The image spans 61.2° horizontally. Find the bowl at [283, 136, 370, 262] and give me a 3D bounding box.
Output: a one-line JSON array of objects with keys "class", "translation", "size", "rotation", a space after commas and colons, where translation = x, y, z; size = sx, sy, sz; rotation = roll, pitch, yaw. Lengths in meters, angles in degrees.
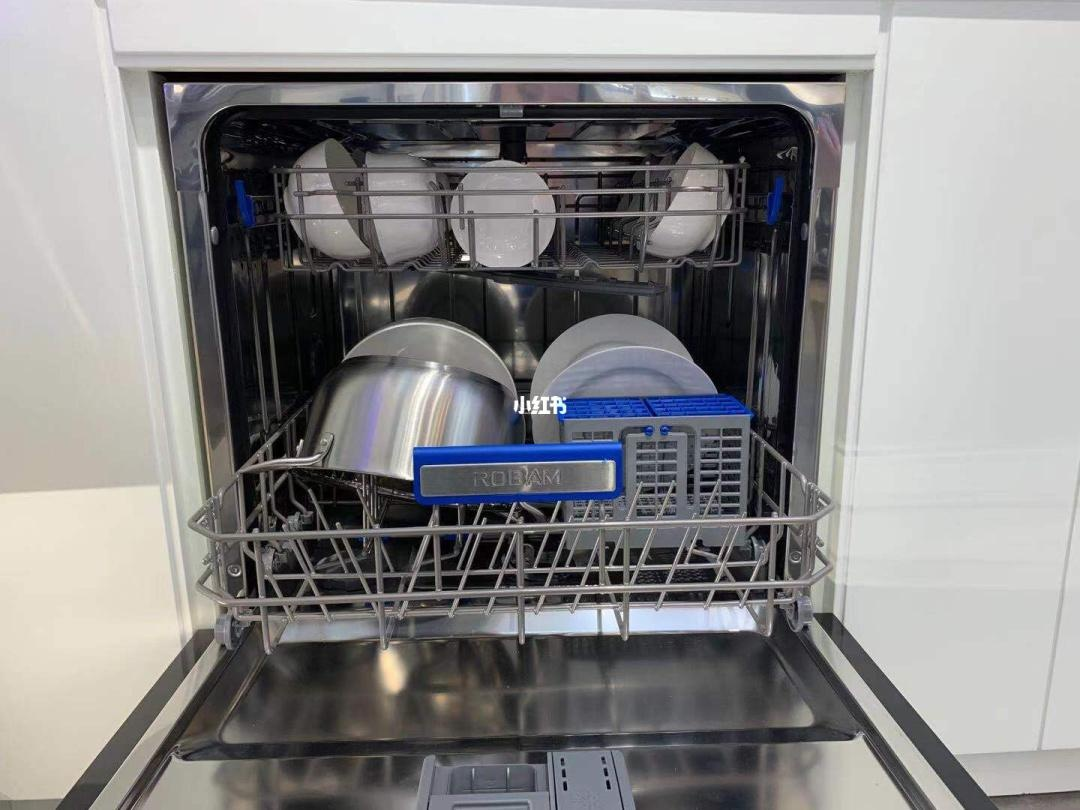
[{"class": "bowl", "translation": [-0.299, -0.289, 1.268], "size": [0.091, 0.161, 0.155], "rotation": [-10, -21, 10]}]

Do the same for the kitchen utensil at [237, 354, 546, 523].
[{"class": "kitchen utensil", "translation": [-0.154, 0.001, 1.277], "size": [0.368, 0.160, 0.294], "rotation": [2, -7, 26]}]
